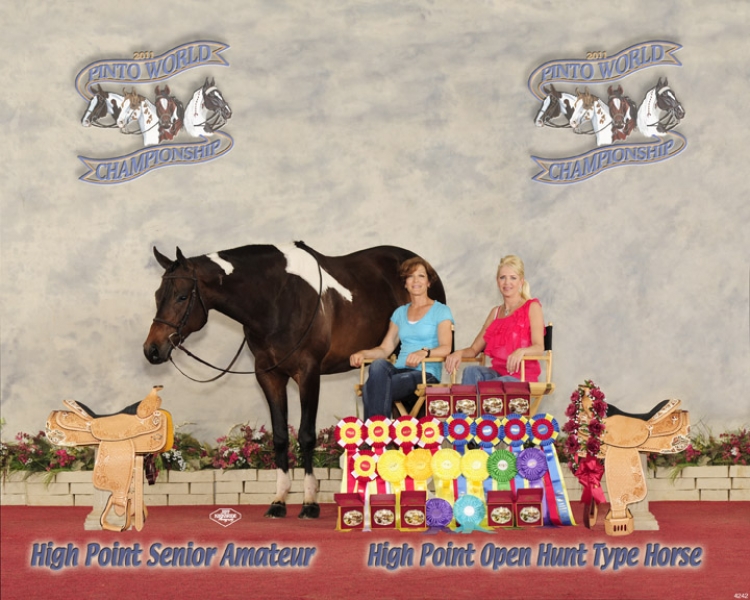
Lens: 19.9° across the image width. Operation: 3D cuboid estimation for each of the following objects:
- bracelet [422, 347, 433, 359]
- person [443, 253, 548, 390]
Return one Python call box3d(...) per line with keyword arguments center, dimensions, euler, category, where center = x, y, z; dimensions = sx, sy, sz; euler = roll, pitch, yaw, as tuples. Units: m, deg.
box3d(center=(0.422, 0.448, 18.950), dimensions=(0.090, 0.075, 0.177), euler=(-1, 7, 1), category="bracelet")
box3d(center=(1.060, 0.146, 18.947), dimensions=(0.776, 1.082, 0.864), euler=(-1, 7, 4), category="person")
